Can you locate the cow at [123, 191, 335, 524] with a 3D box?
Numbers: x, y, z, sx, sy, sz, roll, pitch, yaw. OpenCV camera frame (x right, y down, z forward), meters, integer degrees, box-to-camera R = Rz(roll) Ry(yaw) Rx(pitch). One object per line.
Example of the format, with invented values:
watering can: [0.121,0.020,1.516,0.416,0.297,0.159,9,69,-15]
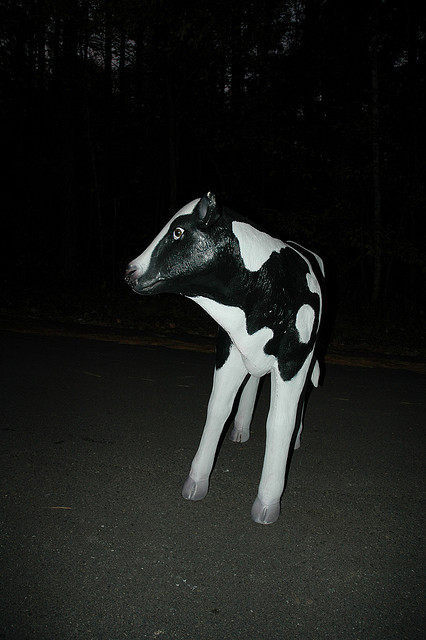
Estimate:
cow: [0.269,0.242,3.084,0.583,1.477,1.723,4,-3,37]
